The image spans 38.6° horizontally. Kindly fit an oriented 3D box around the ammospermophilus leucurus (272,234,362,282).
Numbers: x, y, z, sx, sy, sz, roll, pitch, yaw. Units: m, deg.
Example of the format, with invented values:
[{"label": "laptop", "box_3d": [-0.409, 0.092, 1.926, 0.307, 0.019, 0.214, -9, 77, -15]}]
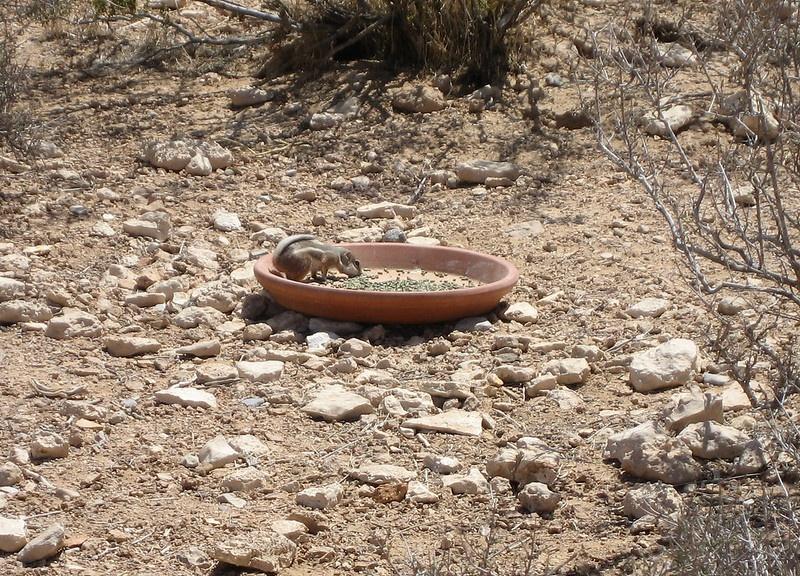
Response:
[{"label": "ammospermophilus leucurus", "box_3d": [-0.559, -0.194, 7.665, 0.695, 0.302, 0.282, -1, 13, -36]}]
